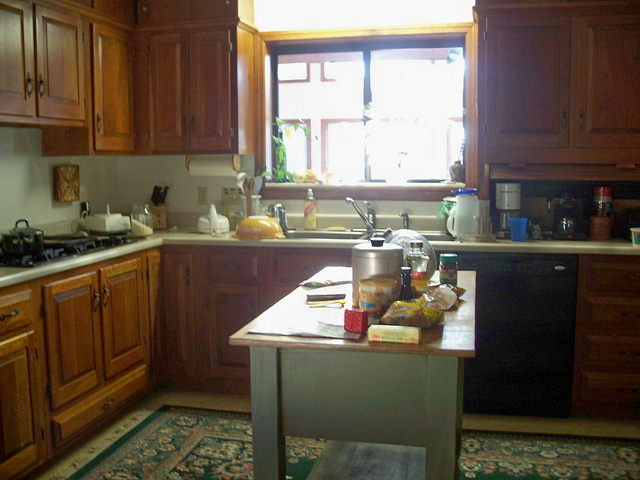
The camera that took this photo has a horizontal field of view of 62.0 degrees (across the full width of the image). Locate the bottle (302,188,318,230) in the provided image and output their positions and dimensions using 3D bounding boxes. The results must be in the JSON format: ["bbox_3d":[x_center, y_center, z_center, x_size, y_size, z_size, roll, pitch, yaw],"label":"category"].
[{"bbox_3d":[-0.076,-0.249,4.158,0.119,0.309,0.175,-1,9,-2],"label":"bottle"}]

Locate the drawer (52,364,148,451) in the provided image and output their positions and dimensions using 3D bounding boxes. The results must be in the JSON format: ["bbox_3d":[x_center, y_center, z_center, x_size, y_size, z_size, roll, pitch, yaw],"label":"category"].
[{"bbox_3d":[-1.320,1.001,3.271,0.038,0.215,0.816,3,11,18],"label":"drawer"}]

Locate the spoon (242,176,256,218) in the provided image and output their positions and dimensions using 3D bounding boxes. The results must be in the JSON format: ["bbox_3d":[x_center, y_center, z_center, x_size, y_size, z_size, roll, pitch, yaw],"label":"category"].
[{"bbox_3d":[-0.545,-0.348,4.128,0.101,0.306,0.280,-2,10,-8],"label":"spoon"}]

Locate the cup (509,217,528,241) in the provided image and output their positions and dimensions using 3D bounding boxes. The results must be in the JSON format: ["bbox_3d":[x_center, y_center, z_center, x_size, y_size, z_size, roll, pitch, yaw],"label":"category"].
[{"bbox_3d":[1.312,-0.072,3.517,0.106,0.147,0.158,3,10,16],"label":"cup"}]

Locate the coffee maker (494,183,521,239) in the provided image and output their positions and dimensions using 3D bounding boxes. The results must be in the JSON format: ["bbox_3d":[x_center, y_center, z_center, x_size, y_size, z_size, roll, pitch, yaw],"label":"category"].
[{"bbox_3d":[1.304,-0.215,3.693,0.163,0.363,0.299,3,10,21],"label":"coffee maker"}]

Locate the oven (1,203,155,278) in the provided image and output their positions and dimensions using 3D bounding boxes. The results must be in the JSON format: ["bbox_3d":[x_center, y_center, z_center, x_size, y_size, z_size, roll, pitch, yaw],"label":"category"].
[{"bbox_3d":[-1.604,-0.003,3.355,0.694,0.262,1.169,3,11,19],"label":"oven"}]

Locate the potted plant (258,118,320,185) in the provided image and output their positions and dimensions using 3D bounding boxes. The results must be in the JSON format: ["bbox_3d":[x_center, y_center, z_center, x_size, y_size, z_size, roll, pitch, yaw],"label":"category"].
[{"bbox_3d":[-0.148,-0.709,4.324,0.509,0.543,0.435,1,2,24],"label":"potted plant"}]

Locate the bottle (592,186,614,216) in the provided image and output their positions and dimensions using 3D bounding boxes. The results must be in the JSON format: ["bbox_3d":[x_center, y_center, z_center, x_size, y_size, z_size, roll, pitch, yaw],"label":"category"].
[{"bbox_3d":[1.958,-0.273,3.677,0.123,0.206,0.185,5,11,29],"label":"bottle"}]

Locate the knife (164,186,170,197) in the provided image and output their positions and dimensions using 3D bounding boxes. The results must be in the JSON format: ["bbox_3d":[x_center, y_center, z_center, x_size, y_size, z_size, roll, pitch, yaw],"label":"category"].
[{"bbox_3d":[-1.231,-0.406,4.319,0.015,0.071,0.049,7,22,-2],"label":"knife"}]

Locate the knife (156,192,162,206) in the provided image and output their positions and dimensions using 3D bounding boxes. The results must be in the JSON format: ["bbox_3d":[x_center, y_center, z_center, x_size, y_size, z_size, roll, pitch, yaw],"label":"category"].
[{"bbox_3d":[-1.292,-0.341,4.281,0.048,0.088,0.022,-3,9,-19],"label":"knife"}]

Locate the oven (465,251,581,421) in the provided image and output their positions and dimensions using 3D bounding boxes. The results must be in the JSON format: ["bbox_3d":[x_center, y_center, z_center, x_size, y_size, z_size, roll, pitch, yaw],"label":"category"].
[{"bbox_3d":[1.331,0.626,3.631,0.653,0.966,0.698,1,0,16],"label":"oven"}]
